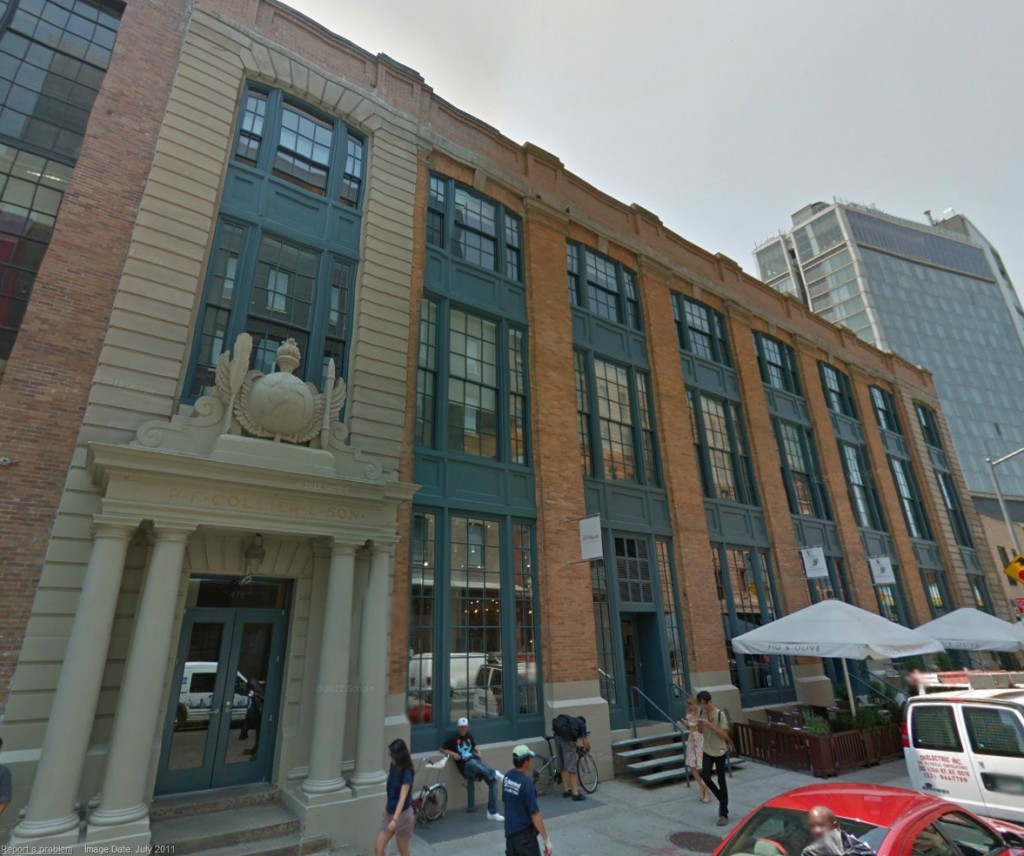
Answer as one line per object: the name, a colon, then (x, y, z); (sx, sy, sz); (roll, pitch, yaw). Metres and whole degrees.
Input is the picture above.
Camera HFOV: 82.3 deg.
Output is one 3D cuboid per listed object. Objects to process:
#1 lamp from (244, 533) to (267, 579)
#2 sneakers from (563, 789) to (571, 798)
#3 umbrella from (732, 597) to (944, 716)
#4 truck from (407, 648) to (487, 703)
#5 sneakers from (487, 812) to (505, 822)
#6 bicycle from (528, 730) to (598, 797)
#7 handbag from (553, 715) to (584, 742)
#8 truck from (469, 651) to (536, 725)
lamp: (-4.797, 2.430, 10.882); (0.390, 0.725, 0.658); (5, -23, -22)
sneakers: (1.140, 7.668, 12.241); (0.149, 0.142, 0.091); (-20, -28, 40)
umbrella: (7.477, 4.783, 13.830); (3.787, 1.337, 2.065); (-14, -24, 26)
truck: (-1.486, 5.291, 12.657); (1.152, 0.720, 1.051); (17, -26, -41)
sneakers: (-0.323, 7.302, 10.959); (0.282, 0.139, 0.511); (-1, -21, -7)
bicycle: (0.982, 7.645, 13.150); (0.839, 1.004, 1.678); (19, -37, -33)
handbag: (1.197, 6.366, 12.295); (0.654, 0.509, 0.358); (-4, -21, 1)
truck: (-0.318, 6.071, 13.731); (1.802, 0.989, 1.035); (8, -19, -30)
